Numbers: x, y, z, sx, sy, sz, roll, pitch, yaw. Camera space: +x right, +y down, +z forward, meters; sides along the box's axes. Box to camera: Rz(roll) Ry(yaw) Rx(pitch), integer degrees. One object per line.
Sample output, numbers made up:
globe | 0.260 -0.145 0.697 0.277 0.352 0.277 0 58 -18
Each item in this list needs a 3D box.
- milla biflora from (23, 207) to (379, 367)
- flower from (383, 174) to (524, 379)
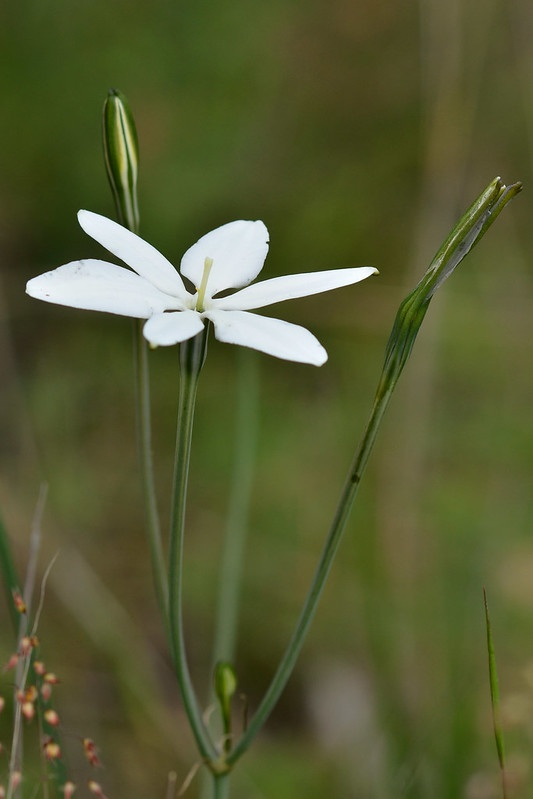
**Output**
milla biflora | -0.014 -0.049 0.429 0.139 0.033 0.141 8 -6 -19
flower | 0.099 -0.062 0.512 0.022 0.023 0.150 22 -54 1
